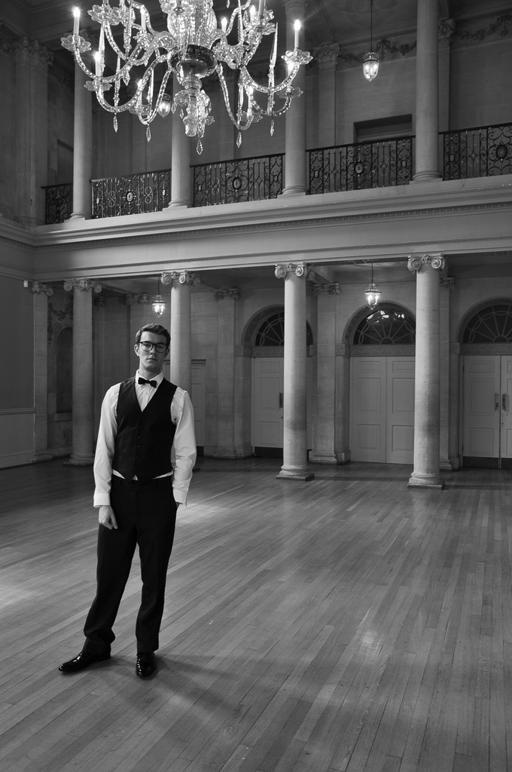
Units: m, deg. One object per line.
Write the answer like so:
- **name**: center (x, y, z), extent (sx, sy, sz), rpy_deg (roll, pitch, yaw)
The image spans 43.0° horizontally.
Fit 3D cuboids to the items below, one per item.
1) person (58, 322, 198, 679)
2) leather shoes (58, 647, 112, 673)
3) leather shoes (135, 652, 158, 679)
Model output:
- **person**: center (-0.628, 0.693, 3.281), extent (0.613, 1.485, 0.306), rpy_deg (0, -1, -13)
- **leather shoes**: center (-0.869, 1.403, 3.289), extent (0.256, 0.129, 0.088), rpy_deg (0, -5, -40)
- **leather shoes**: center (-0.550, 1.385, 3.253), extent (0.102, 0.093, 0.241), rpy_deg (0, -1, -7)
